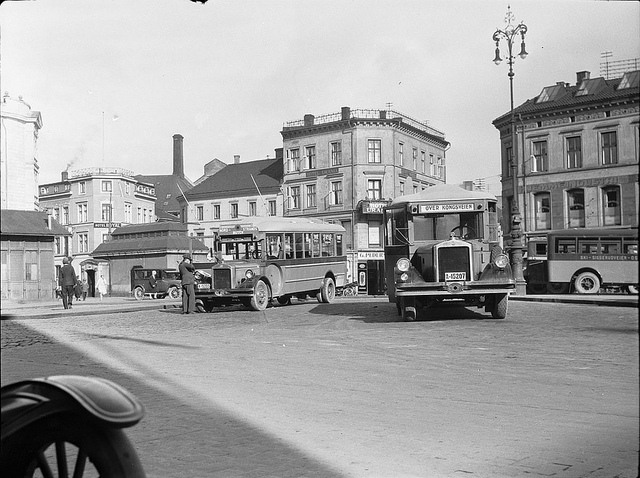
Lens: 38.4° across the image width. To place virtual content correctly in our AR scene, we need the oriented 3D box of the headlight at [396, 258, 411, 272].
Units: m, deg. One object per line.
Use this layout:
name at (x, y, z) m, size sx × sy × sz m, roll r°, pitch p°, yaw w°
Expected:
headlight at (1.947, 0.616, 21.217) m, size 0.303 × 0.278 × 0.185 m, roll 0°, pitch 3°, yaw 7°

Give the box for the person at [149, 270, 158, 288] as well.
person at (-8.641, 2.100, 47.764) m, size 0.231 × 0.956 × 0.728 m, roll -2°, pitch 4°, yaw -29°

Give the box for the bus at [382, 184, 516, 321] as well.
bus at (3.096, 0.361, 22.311) m, size 2.902 × 3.315 × 2.963 m, roll 0°, pitch 3°, yaw 6°

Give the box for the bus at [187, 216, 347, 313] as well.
bus at (-1.580, 0.859, 30.852) m, size 2.599 × 2.803 × 6.889 m, roll -4°, pitch -1°, yaw 29°

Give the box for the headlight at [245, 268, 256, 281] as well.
headlight at (-2.115, 1.103, 28.119) m, size 0.215 × 0.366 × 0.417 m, roll 3°, pitch 5°, yaw 43°

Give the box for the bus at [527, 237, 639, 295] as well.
bus at (10.925, 1.140, 39.156) m, size 4.536 × 2.375 × 2.019 m, roll 1°, pitch 4°, yaw 24°

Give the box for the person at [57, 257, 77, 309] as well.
person at (-8.980, 1.516, 32.872) m, size 0.729 × 1.835 × 0.532 m, roll 6°, pitch 19°, yaw 3°

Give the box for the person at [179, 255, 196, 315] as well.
person at (-4.073, 1.428, 28.313) m, size 0.471 × 1.830 × 1.036 m, roll 0°, pitch 3°, yaw -6°

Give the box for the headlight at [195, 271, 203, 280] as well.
headlight at (-3.847, 1.190, 29.246) m, size 0.221 × 0.322 × 0.792 m, roll 0°, pitch 3°, yaw -7°

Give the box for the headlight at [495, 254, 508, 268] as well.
headlight at (4.190, 0.533, 21.231) m, size 0.295 × 0.282 × 0.178 m, roll 1°, pitch 4°, yaw 21°
